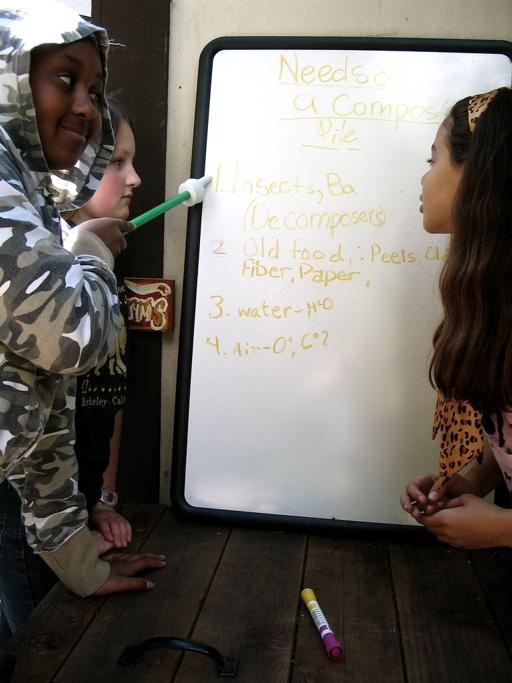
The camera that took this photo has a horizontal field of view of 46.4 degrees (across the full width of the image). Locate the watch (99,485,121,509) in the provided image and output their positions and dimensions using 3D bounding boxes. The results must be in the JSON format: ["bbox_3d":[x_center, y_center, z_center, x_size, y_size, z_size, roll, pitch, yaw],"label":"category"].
[{"bbox_3d":[-0.342,0.370,1.422,0.032,0.015,0.042,13,42,-43],"label":"watch"}]
